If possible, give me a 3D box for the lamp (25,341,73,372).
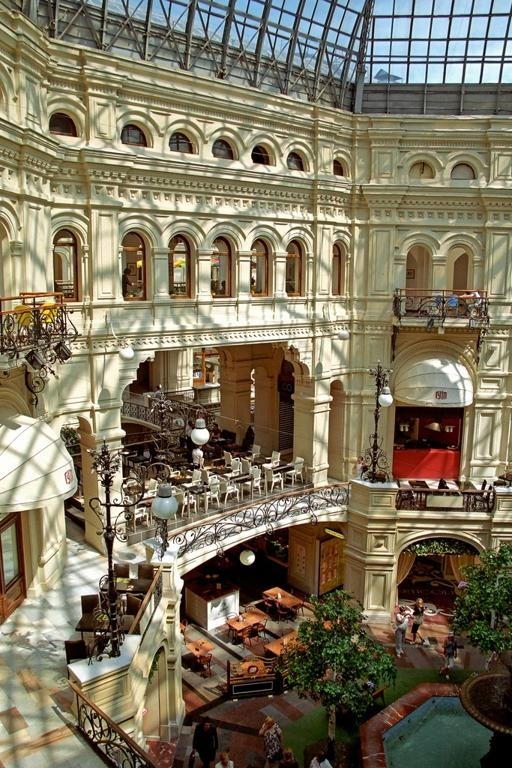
[{"bbox_3d":[-3.476,-0.463,9.876,0.449,0.203,0.488,-22,-1,16],"label":"lamp"}]

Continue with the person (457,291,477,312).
[{"bbox_3d":[6.705,-2.598,18.891,0.741,0.759,0.760,5,10,41],"label":"person"}]

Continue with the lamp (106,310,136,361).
[{"bbox_3d":[-2.976,-0.998,12.990,0.620,1.035,1.208,1,5,-12],"label":"lamp"}]

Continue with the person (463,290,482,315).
[{"bbox_3d":[6.796,-2.501,18.602,0.544,0.821,0.935,6,6,36],"label":"person"}]

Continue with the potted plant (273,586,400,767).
[{"bbox_3d":[1.621,4.694,10.711,1.318,1.890,1.476,-39,-37,28],"label":"potted plant"}]

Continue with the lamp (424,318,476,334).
[{"bbox_3d":[6.127,-1.804,18.703,1.623,0.466,0.595,2,5,-2],"label":"lamp"}]

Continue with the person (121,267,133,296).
[{"bbox_3d":[-3.073,-2.392,14.072,0.215,0.782,0.603,1,5,-13],"label":"person"}]

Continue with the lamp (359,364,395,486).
[{"bbox_3d":[3.410,1.131,16.624,0.988,3.184,0.956,-1,6,-39],"label":"lamp"}]
